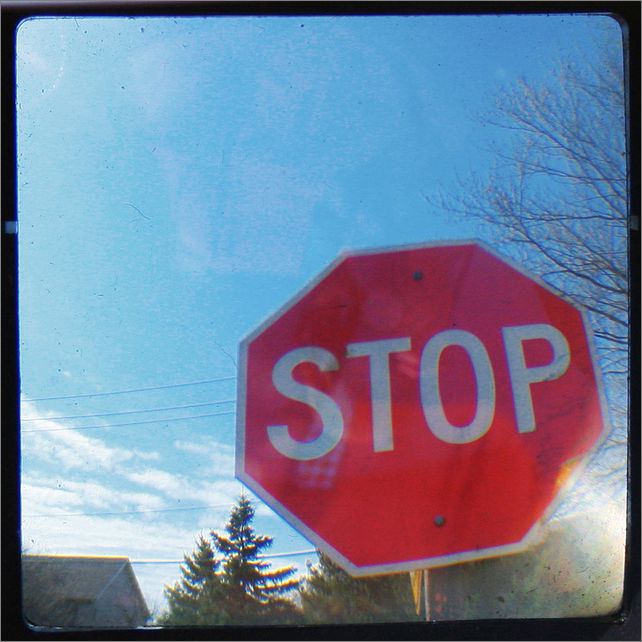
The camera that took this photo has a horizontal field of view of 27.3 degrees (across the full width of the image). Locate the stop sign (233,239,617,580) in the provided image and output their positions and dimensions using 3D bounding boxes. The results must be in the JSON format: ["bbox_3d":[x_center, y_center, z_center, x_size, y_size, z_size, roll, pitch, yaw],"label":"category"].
[{"bbox_3d":[0.280,0.197,3.545,1.124,0.022,0.857,-5,92,-27],"label":"stop sign"}]
